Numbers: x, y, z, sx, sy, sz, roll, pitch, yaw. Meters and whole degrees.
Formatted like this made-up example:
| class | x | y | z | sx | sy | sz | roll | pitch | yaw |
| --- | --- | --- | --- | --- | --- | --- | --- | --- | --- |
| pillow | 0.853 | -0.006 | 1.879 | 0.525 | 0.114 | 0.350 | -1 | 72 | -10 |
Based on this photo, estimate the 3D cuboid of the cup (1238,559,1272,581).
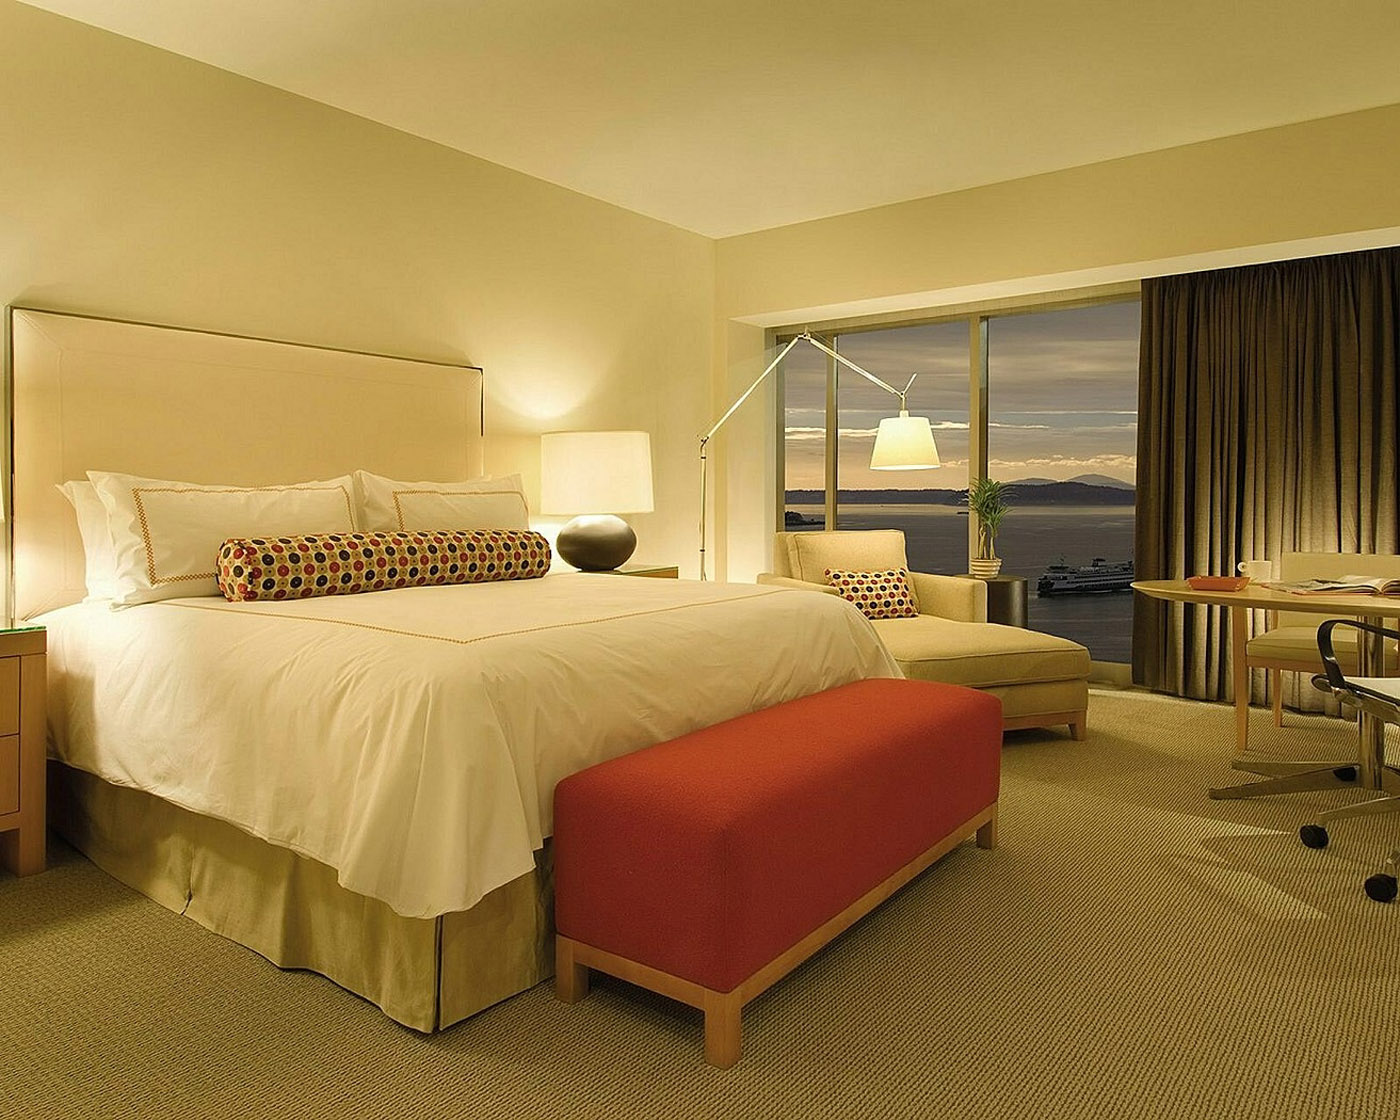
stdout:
| class | x | y | z | sx | sy | sz | roll | pitch | yaw |
| --- | --- | --- | --- | --- | --- | --- | --- | --- | --- |
| cup | 2.219 | 0.040 | 3.861 | 0.132 | 0.100 | 0.102 | -2 | -3 | 38 |

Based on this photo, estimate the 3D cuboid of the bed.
| class | x | y | z | sx | sy | sz | roll | pitch | yaw |
| --- | --- | --- | --- | --- | --- | --- | --- | --- | --- |
| bed | -1.019 | 0.303 | 3.220 | 2.257 | 1.564 | 2.327 | 3 | 3 | 35 |

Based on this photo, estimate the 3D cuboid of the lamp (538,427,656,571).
| class | x | y | z | sx | sy | sz | roll | pitch | yaw |
| --- | --- | --- | --- | --- | --- | --- | --- | --- | --- |
| lamp | -0.503 | -0.308 | 5.144 | 0.637 | 0.788 | 0.656 | 0 | -4 | -8 |
